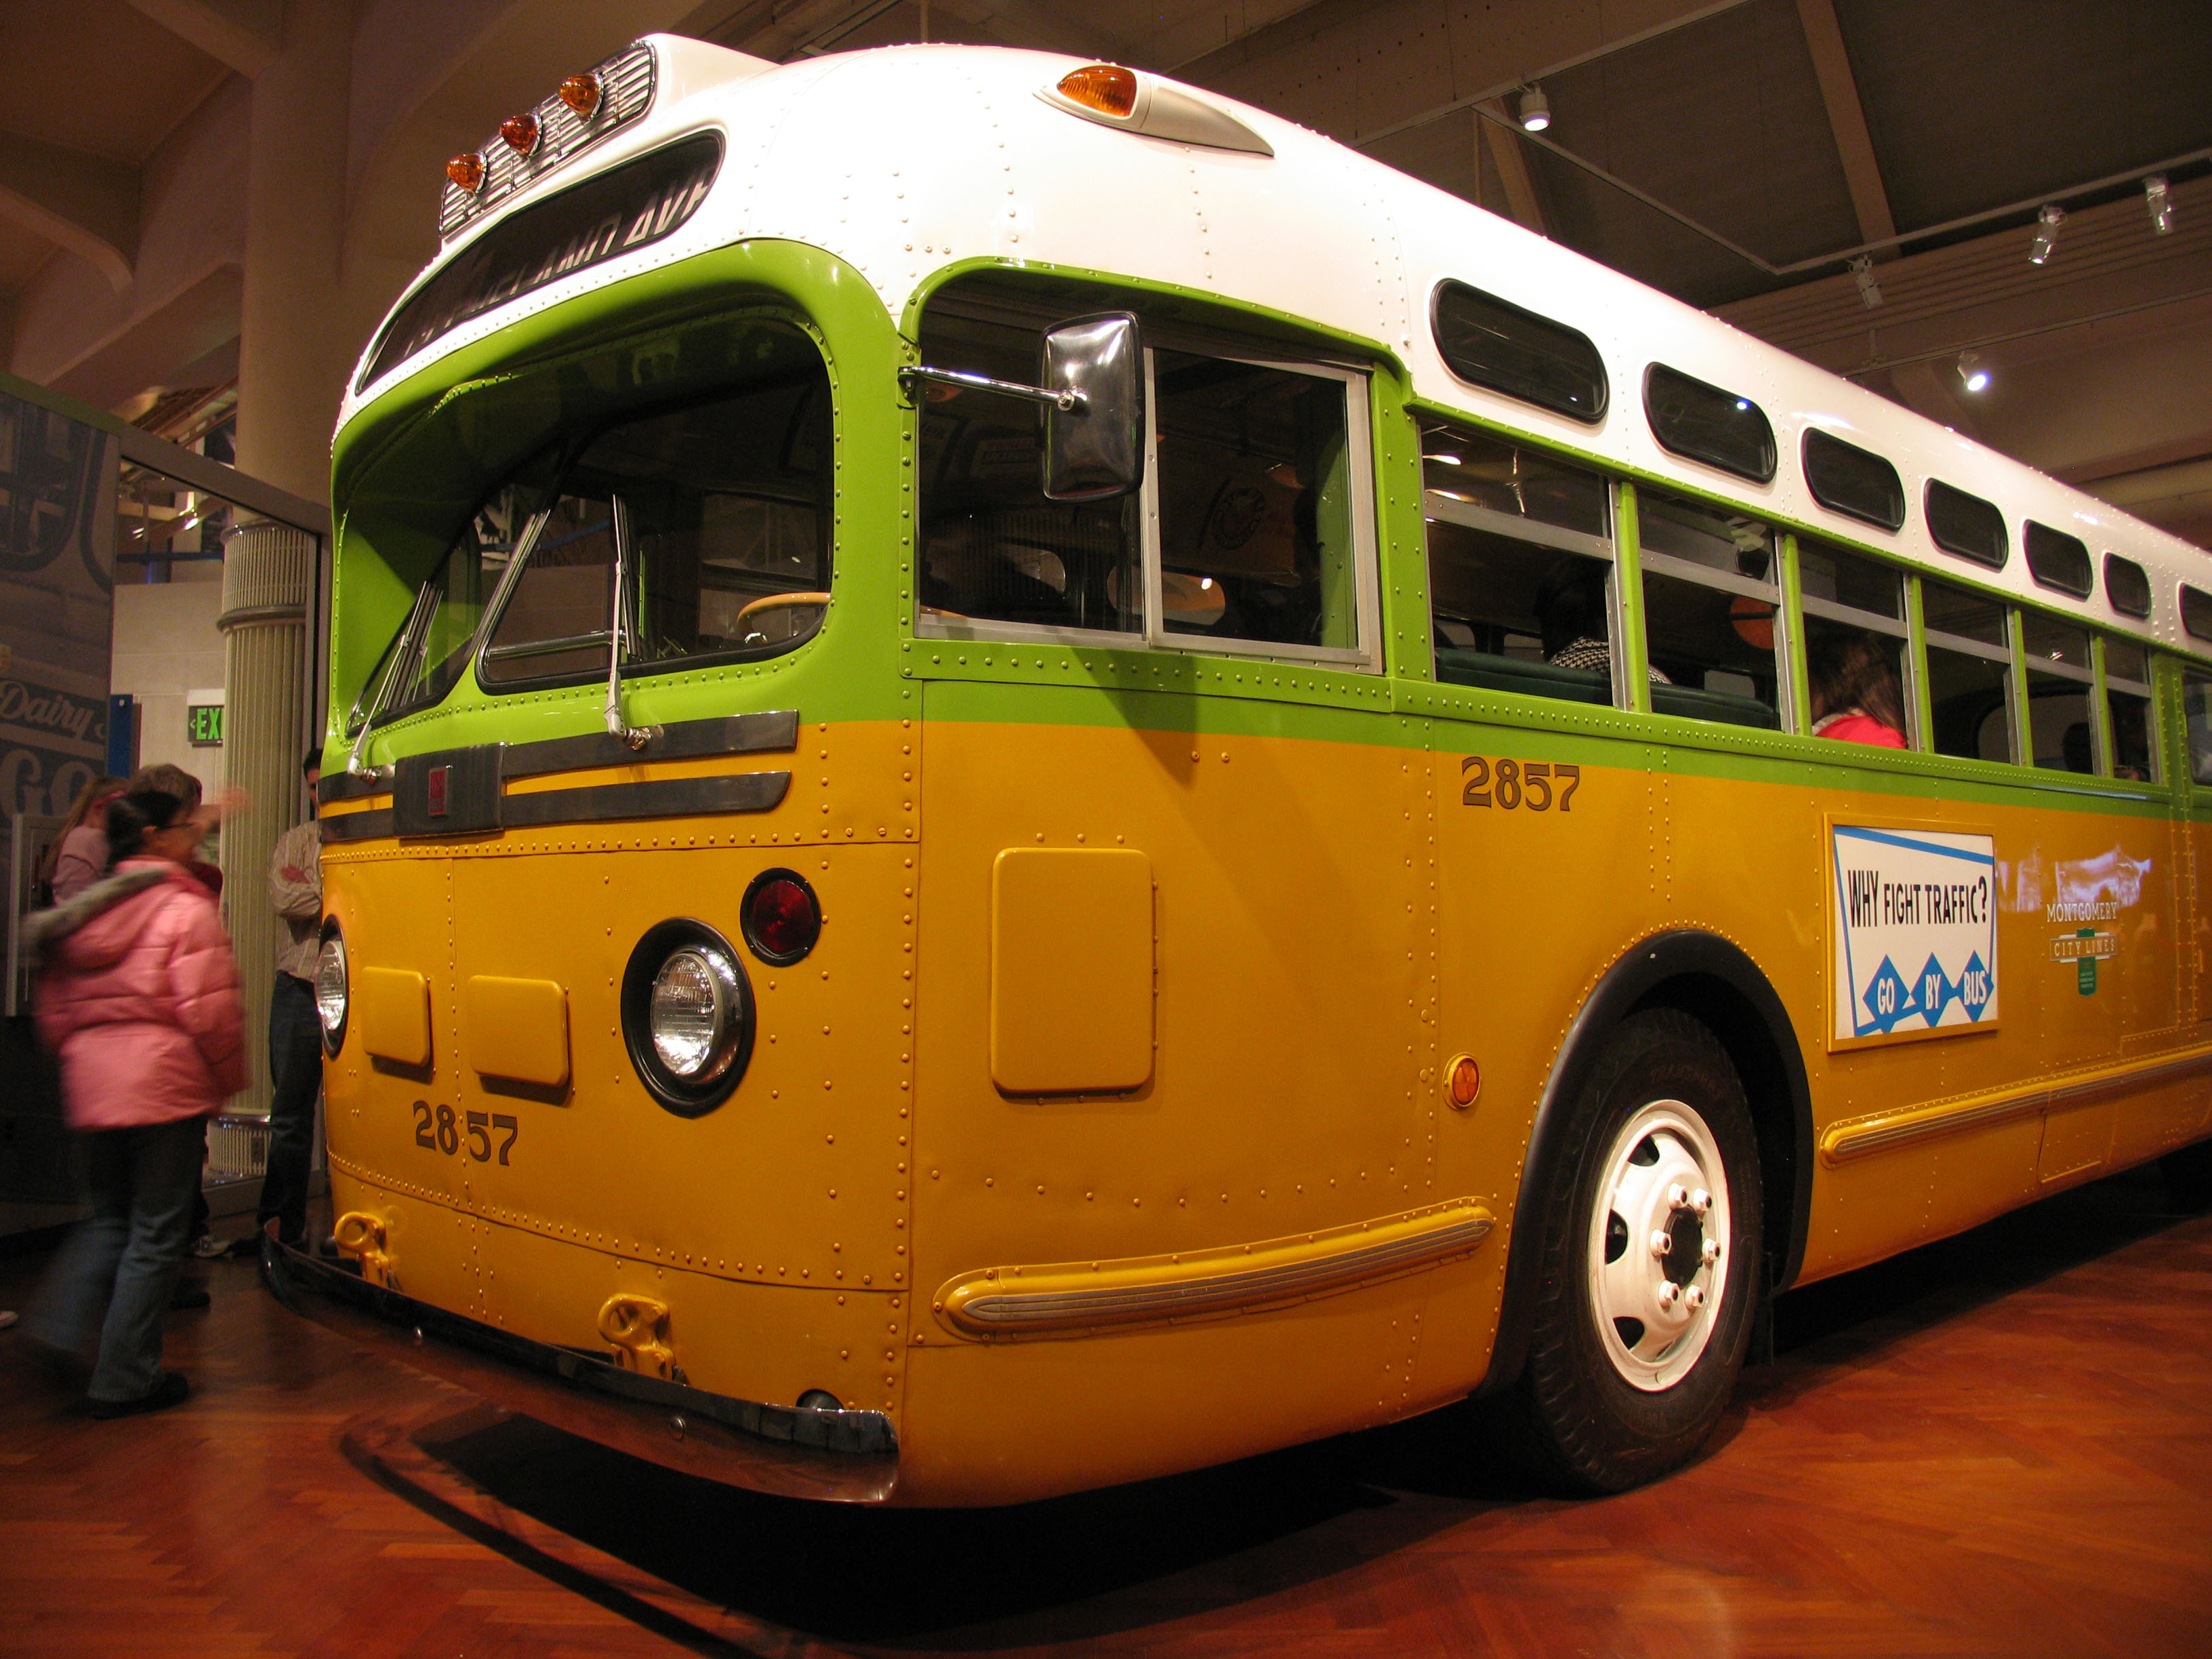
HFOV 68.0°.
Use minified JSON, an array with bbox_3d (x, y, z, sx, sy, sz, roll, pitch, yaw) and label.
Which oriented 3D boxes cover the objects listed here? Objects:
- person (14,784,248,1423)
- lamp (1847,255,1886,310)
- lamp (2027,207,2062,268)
[{"bbox_3d":[-3.452,0.907,5.793,0.701,2.186,0.511,-3,7,-30],"label":"person"},{"bbox_3d":[5.544,-4.033,11.877,0.220,0.416,0.144,-7,0,0],"label":"lamp"},{"bbox_3d":[6.355,-4.006,11.018,0.273,0.134,1.136,2,24,27],"label":"lamp"}]
